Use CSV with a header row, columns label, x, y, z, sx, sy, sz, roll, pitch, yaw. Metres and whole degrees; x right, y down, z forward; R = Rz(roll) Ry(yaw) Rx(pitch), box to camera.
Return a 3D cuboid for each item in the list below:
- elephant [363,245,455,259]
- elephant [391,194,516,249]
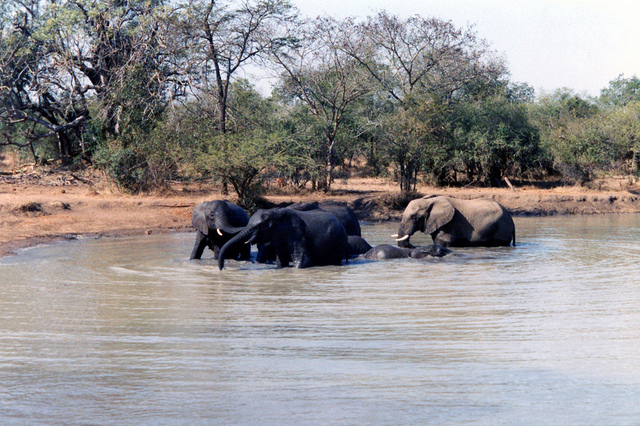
label,x,y,z,sx,sy,sz,roll,pitch,yaw
elephant,3.851,1.686,44.075,2.822,0.876,1.209,0,0,-5
elephant,6.048,0.768,47.015,6.057,2.851,2.431,-1,7,-2
